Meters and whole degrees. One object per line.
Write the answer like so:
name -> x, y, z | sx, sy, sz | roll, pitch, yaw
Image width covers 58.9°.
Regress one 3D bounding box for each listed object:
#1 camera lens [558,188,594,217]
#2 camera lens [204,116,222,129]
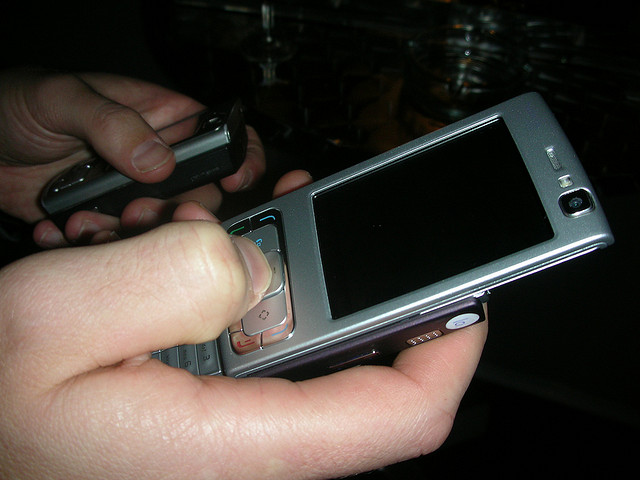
camera lens -> 0.367, -0.054, 0.809 | 0.040, 0.019, 0.039 | -11, 62, -12
camera lens -> -0.188, -0.208, 0.999 | 0.007, 0.030, 0.017 | 24, 57, -43
